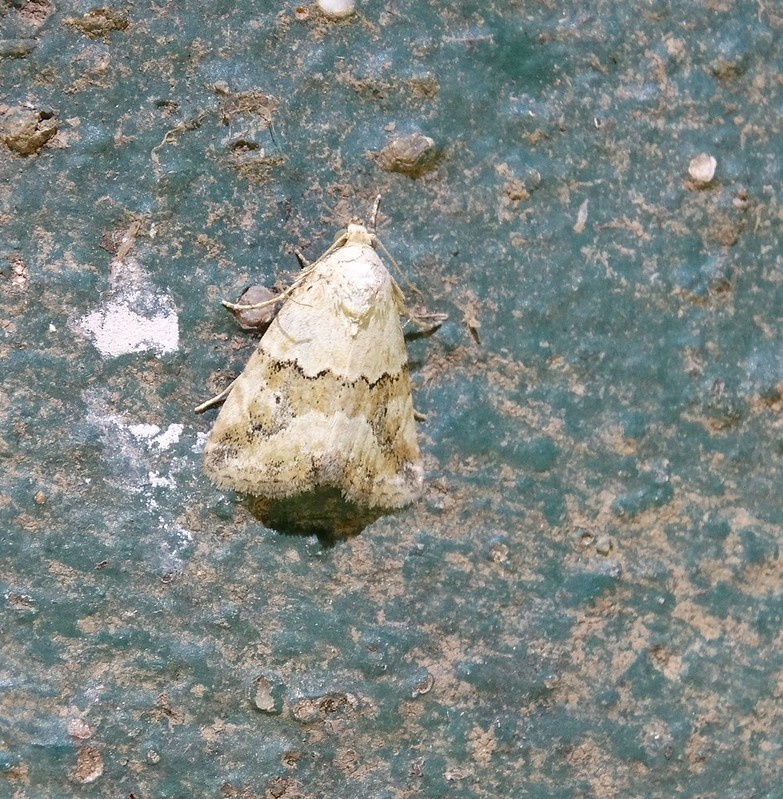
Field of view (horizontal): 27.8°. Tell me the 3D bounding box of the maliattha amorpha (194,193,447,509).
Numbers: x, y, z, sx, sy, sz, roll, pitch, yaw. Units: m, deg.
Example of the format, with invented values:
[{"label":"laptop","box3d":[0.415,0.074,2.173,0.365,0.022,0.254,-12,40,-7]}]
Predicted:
[{"label":"maliattha amorpha","box3d":[-0.315,-0.231,7.533,0.930,0.395,1.392,4,92,-9]}]
